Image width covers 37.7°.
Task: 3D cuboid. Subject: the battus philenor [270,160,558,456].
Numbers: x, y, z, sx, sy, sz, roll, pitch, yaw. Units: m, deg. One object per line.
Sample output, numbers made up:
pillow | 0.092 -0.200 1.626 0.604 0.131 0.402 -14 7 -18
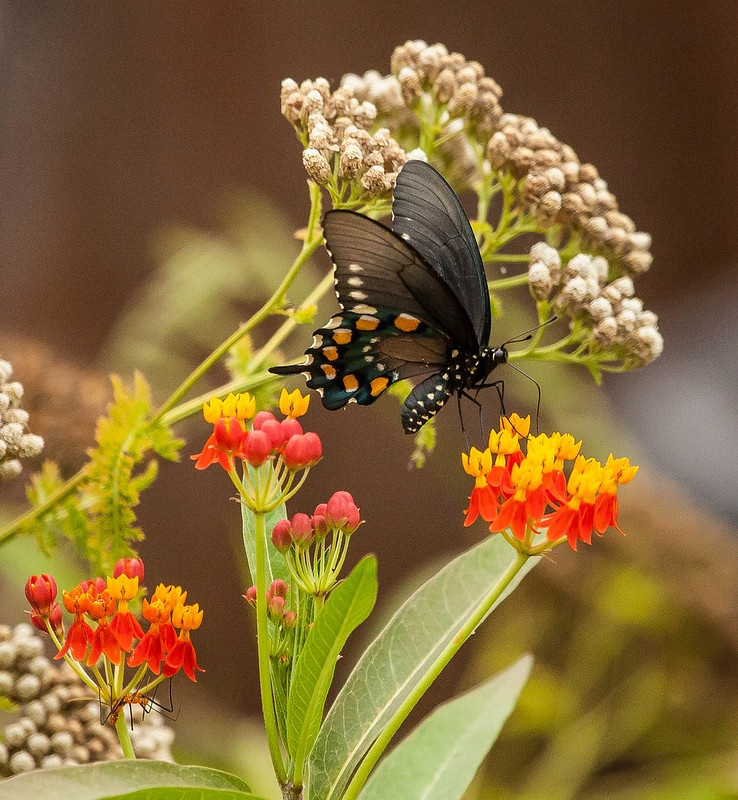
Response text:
battus philenor | 0.056 -0.136 1.594 0.366 0.400 0.403 -3 -72 20

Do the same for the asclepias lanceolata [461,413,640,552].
asclepias lanceolata | 0.222 0.119 1.350 0.204 0.202 0.170 -3 -38 4

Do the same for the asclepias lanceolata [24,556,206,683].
asclepias lanceolata | -0.319 0.278 1.384 0.219 0.183 0.188 4 -39 -5
